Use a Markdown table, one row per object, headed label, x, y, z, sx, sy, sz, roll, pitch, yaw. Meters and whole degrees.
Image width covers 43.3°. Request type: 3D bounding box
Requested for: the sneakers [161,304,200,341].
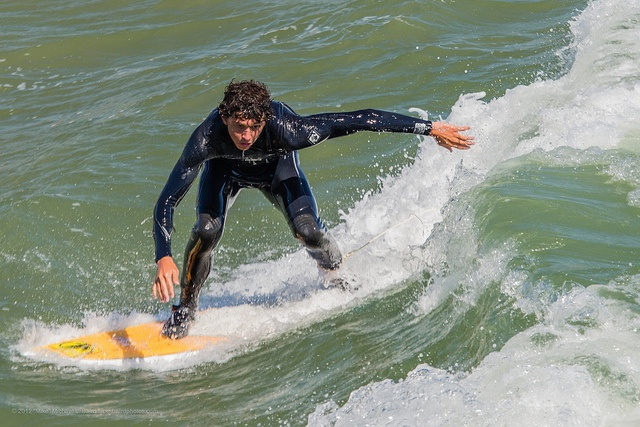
| label | x | y | z | sx | sy | sz | roll | pitch | yaw |
| --- | --- | --- | --- | --- | --- | --- | --- | --- | --- |
| sneakers | -1.768 | 1.354 | 10.252 | 0.275 | 0.478 | 0.212 | 24 | -10 | 6 |
